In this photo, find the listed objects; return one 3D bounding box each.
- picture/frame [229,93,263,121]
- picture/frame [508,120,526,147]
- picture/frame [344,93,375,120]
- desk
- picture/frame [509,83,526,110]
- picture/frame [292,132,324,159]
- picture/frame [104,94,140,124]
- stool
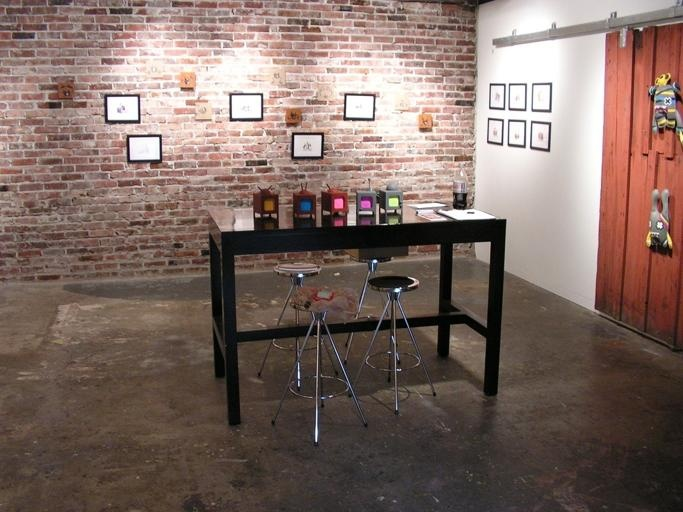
[{"bbox_3d":[-1.344,-2.086,7.202,0.402,0.321,0.027,-2,11,-16],"label":"picture/frame"},{"bbox_3d":[2.386,-1.672,7.043,0.029,0.380,0.388,-6,13,-23],"label":"picture/frame"},{"bbox_3d":[0.241,-2.192,7.557,0.407,0.324,0.032,-2,12,-18],"label":"picture/frame"},{"bbox_3d":[0.106,0.389,4.389,2.194,1.337,1.088,-3,8,-13],"label":"desk"},{"bbox_3d":[2.372,-2.149,6.977,0.032,0.399,0.388,-7,14,-27],"label":"picture/frame"},{"bbox_3d":[-0.507,-1.606,7.482,0.399,0.315,0.030,-2,10,-19],"label":"picture/frame"},{"bbox_3d":[-2.919,-1.971,6.880,0.407,0.324,0.039,-2,10,-19],"label":"picture/frame"},{"bbox_3d":[0.051,0.621,4.188,1.258,0.911,1.379,4,8,13],"label":"stool"}]
